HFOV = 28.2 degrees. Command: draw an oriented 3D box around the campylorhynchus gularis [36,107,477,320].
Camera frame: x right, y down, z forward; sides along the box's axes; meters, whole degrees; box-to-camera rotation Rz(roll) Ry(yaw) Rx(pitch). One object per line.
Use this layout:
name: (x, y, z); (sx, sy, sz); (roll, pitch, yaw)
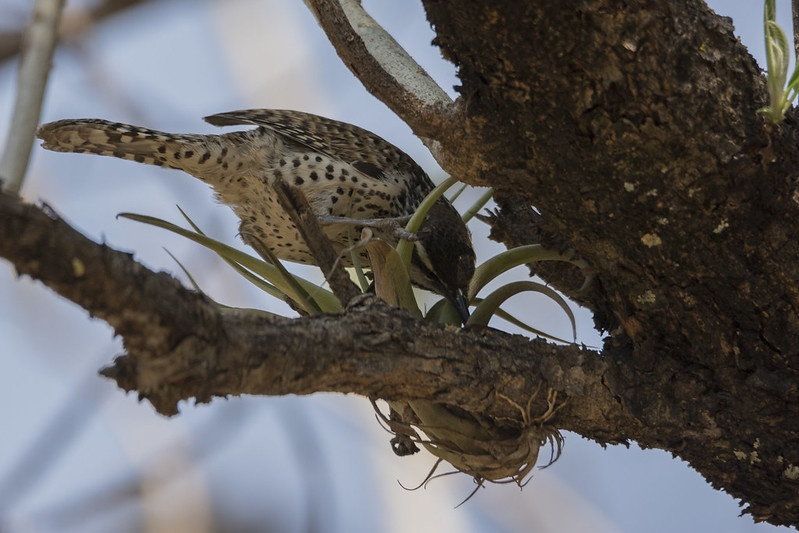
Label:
campylorhynchus gularis: (-0.227, -0.164, 2.893); (0.818, 0.316, 0.229); (24, -51, -25)
